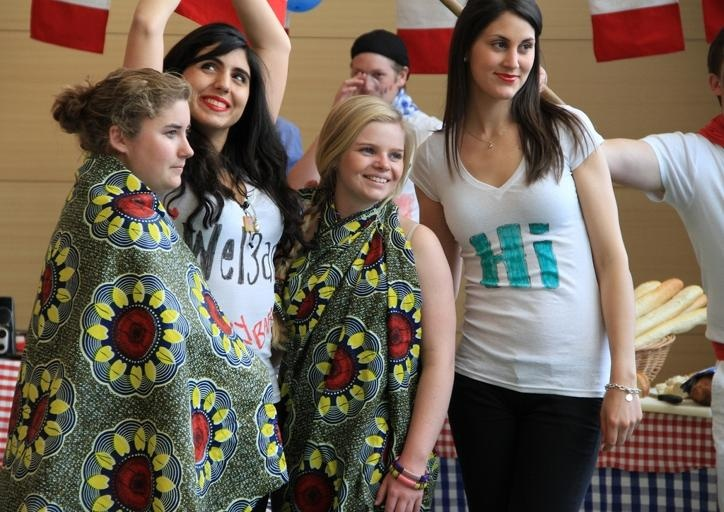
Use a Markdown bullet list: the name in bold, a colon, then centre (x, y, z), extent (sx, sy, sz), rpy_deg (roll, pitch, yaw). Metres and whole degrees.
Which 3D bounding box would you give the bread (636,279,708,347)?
- **bread**: centre (1.199, 0.222, 3.421), extent (0.188, 0.081, 0.322), rpy_deg (4, 45, 48)

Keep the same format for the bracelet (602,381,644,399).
- **bracelet**: centre (0.816, 0.423, 2.748), extent (0.102, 0.052, 0.062), rpy_deg (3, 1, 13)

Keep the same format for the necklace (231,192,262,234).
- **necklace**: centre (-0.354, -0.135, 2.758), extent (0.062, 0.116, 0.025), rpy_deg (3, -22, -41)

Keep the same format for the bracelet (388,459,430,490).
- **bracelet**: centre (0.139, 0.676, 2.685), extent (0.086, 0.044, 0.097), rpy_deg (33, 1, -5)
